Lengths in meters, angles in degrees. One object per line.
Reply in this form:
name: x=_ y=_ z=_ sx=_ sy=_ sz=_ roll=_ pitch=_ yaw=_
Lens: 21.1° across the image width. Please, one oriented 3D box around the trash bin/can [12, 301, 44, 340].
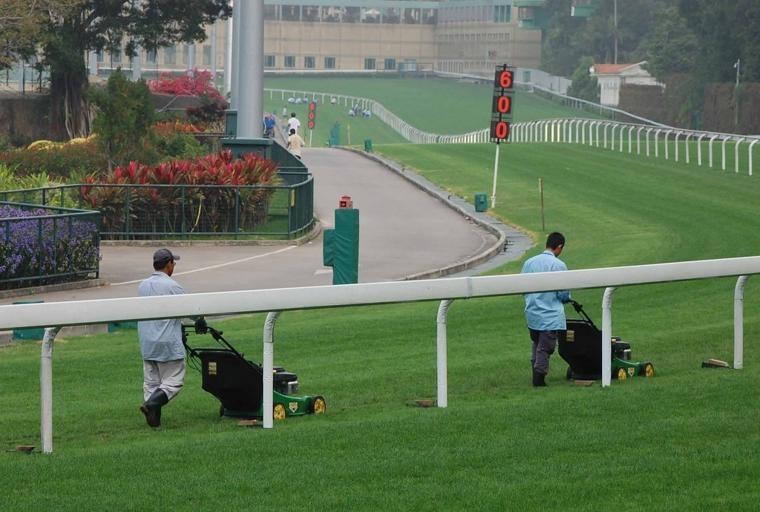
trash bin/can: x=-16.020 y=2.928 z=92.745 sx=1.394 sy=2.207 sz=3.386 roll=-3 pitch=10 yaw=-11
